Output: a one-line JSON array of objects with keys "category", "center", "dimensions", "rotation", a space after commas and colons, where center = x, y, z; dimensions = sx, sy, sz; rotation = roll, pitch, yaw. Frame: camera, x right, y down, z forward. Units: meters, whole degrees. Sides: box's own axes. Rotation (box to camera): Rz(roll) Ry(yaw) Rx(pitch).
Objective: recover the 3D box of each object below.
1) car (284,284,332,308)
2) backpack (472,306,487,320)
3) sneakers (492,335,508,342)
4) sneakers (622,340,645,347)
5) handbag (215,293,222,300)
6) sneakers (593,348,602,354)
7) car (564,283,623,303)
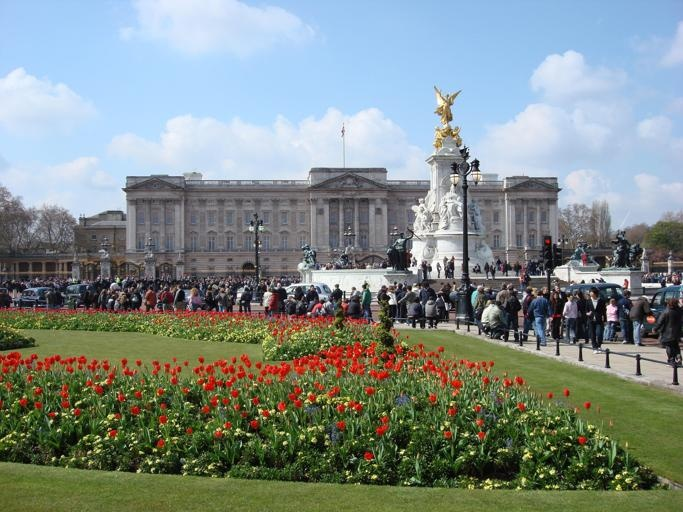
[{"category": "car", "center": [-1.451, 1.805, 45.730], "dimensions": [1.639, 0.806, 1.002], "rotation": [3, -1, 3]}, {"category": "backpack", "center": [4.387, 1.861, 32.021], "dimensions": [0.513, 0.681, 0.372], "rotation": [0, 3, 8]}, {"category": "sneakers", "center": [4.532, 2.310, 29.097], "dimensions": [0.238, 0.101, 0.258], "rotation": [11, 9, 35]}, {"category": "sneakers", "center": [8.123, 2.422, 28.338], "dimensions": [0.586, 0.250, 0.193], "rotation": [-2, -4, 19]}, {"category": "handbag", "center": [-4.887, 1.592, 40.286], "dimensions": [0.312, 0.085, 0.325], "rotation": [-29, -4, 21]}, {"category": "sneakers", "center": [6.482, 2.416, 25.873], "dimensions": [0.118, 0.128, 0.298], "rotation": [30, -7, -6]}, {"category": "car", "center": [8.149, 1.067, 33.179], "dimensions": [0.981, 0.792, 1.618], "rotation": [-1, 4, -25]}]
